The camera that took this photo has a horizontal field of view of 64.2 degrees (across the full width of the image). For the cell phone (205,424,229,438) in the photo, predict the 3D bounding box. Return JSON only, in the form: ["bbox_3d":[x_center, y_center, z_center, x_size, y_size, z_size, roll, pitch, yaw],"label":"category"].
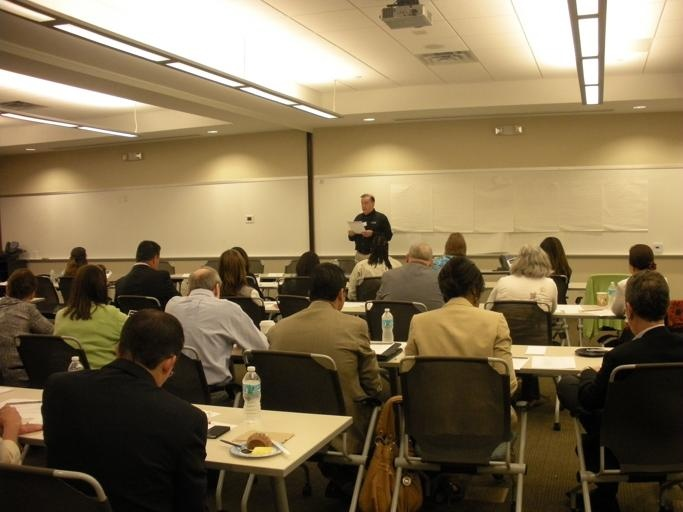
[{"bbox_3d":[-0.584,0.828,2.568,0.073,0.017,0.128,4,4,10],"label":"cell phone"}]

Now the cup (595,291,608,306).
[{"bbox_3d":[2.646,0.446,5.603,0.122,0.135,0.128,1,-2,0],"label":"cup"}]

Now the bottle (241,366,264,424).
[{"bbox_3d":[-0.470,0.705,2.851,0.090,0.237,0.417,-1,2,-8],"label":"bottle"}]

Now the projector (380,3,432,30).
[{"bbox_3d":[0.633,-2.274,5.219,0.277,0.076,0.282,0,-3,23],"label":"projector"}]

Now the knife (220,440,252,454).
[{"bbox_3d":[-0.457,0.820,2.399,0.042,0.027,0.198,-20,13,-35],"label":"knife"}]

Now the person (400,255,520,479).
[{"bbox_3d":[0.666,0.564,3.095,0.613,1.107,0.697,0,2,17],"label":"person"}]
